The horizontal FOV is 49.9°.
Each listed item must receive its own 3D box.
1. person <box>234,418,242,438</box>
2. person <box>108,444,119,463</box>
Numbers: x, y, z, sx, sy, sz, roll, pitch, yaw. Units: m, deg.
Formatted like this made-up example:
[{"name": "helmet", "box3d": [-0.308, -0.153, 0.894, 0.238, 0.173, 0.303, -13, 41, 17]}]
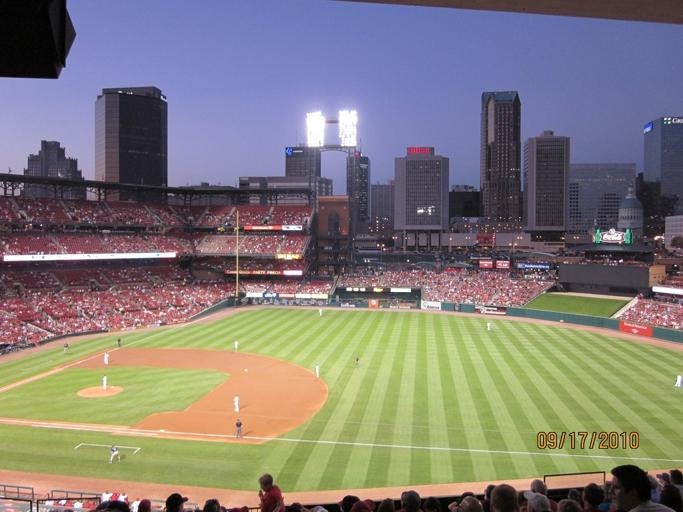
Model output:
[{"name": "person", "box3d": [-8.143, 13.421, 57.925, 0.602, 1.279, 1.311, -3, 11, -8]}, {"name": "person", "box3d": [-17.283, 14.762, 55.308, 0.836, 1.148, 1.304, -4, 11, -16]}]
